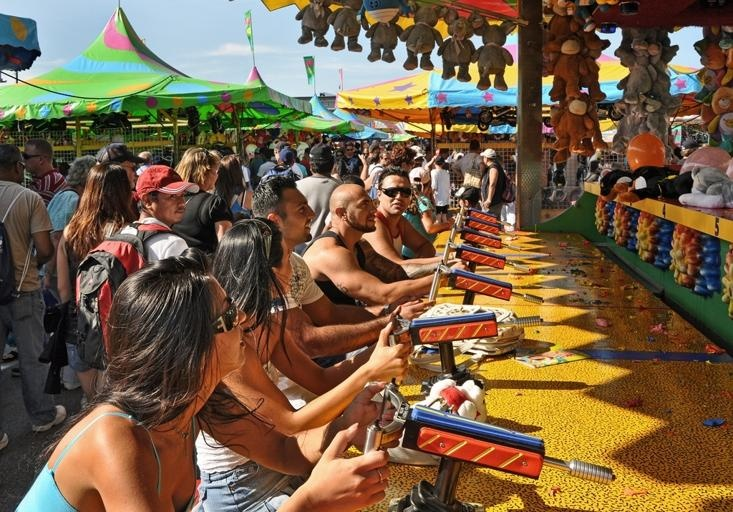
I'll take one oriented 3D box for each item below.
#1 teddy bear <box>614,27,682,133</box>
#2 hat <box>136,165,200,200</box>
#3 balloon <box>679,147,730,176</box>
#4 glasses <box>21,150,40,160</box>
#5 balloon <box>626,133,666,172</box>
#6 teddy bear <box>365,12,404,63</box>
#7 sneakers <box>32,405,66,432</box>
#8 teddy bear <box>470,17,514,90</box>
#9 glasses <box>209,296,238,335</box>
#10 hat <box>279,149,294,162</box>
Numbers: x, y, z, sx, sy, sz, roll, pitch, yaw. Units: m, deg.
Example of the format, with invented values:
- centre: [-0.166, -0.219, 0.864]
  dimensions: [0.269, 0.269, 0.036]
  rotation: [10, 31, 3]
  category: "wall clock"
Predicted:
- centre: [2.521, -1.556, 4.937]
  dimensions: [0.528, 0.999, 0.422]
  rotation: [6, 14, 25]
  category: "teddy bear"
- centre: [-1.435, -0.515, 3.913]
  dimensions: [0.405, 0.191, 0.250]
  rotation: [-16, 10, -7]
  category: "hat"
- centre: [2.315, -0.656, 3.707]
  dimensions: [0.258, 0.162, 0.306]
  rotation: [-10, 11, 26]
  category: "balloon"
- centre: [-3.472, -1.029, 5.628]
  dimensions: [0.137, 0.040, 0.125]
  rotation: [8, 10, -6]
  category: "glasses"
- centre: [2.328, -0.859, 4.533]
  dimensions: [0.276, 0.316, 0.499]
  rotation: [4, 12, 19]
  category: "balloon"
- centre: [0.182, -2.158, 5.494]
  dimensions: [0.379, 0.523, 0.742]
  rotation: [0, 11, 1]
  category: "teddy bear"
- centre: [-2.633, 1.382, 4.600]
  dimensions: [0.106, 0.129, 0.310]
  rotation: [20, 24, 5]
  category: "sneakers"
- centre: [1.395, -2.257, 6.046]
  dimensions: [0.437, 0.829, 0.580]
  rotation: [3, 12, 13]
  category: "teddy bear"
- centre: [-0.410, 0.177, 1.637]
  dimensions: [0.091, 0.024, 0.089]
  rotation: [-19, 25, 33]
  category: "glasses"
- centre: [-1.409, -1.756, 9.611]
  dimensions: [0.227, 0.262, 0.307]
  rotation: [-1, 9, -11]
  category: "hat"
